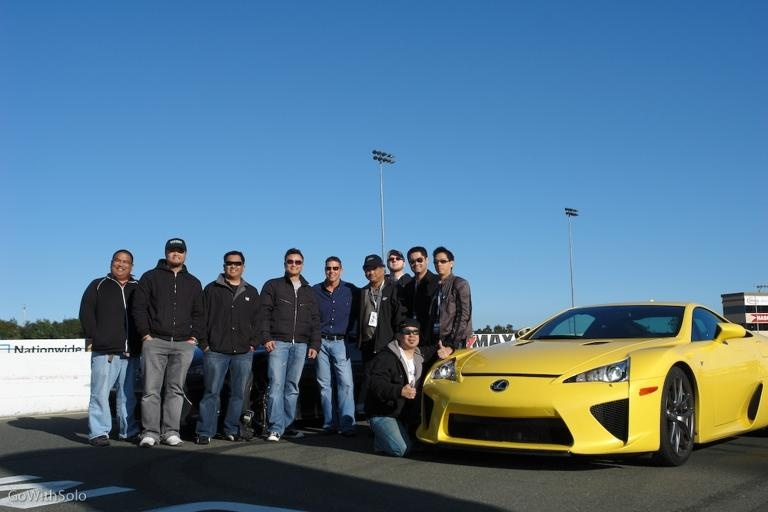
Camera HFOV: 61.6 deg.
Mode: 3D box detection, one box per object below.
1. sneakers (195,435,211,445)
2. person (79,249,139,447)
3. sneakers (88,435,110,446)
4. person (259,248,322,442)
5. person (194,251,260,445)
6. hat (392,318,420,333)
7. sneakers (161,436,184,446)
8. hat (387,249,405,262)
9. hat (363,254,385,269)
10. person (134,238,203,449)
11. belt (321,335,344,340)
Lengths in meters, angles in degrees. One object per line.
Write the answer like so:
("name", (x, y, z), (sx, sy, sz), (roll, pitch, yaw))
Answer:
("sneakers", (-2.408, 2.453, 8.625), (0.111, 0.075, 0.169), (8, -21, -2))
("person", (-3.754, 1.210, 8.849), (0.796, 2.624, 0.397), (3, -7, -27))
("sneakers", (-3.784, 2.445, 8.592), (0.243, 0.118, 0.262), (2, -6, -23))
("person", (-1.427, 1.231, 9.414), (0.539, 2.695, 0.932), (-6, -8, 39))
("person", (-2.134, 1.228, 8.964), (0.868, 2.599, 0.392), (2, -7, -23))
("hat", (0.328, 0.879, 8.357), (0.248, 0.169, 0.313), (2, -16, -8))
("sneakers", (-2.806, 2.410, 8.486), (0.330, 0.131, 0.122), (-4, -7, 27))
("hat", (0.214, -0.012, 11.032), (0.246, 0.170, 0.389), (-2, -6, -3))
("hat", (-0.194, 0.105, 9.614), (0.259, 0.186, 0.363), (-5, -12, 17))
("person", (-2.903, 1.120, 8.694), (0.891, 2.741, 0.434), (2, -7, -20))
("belt", (-0.756, 1.225, 9.714), (0.318, 0.080, 0.057), (1, -6, -19))
